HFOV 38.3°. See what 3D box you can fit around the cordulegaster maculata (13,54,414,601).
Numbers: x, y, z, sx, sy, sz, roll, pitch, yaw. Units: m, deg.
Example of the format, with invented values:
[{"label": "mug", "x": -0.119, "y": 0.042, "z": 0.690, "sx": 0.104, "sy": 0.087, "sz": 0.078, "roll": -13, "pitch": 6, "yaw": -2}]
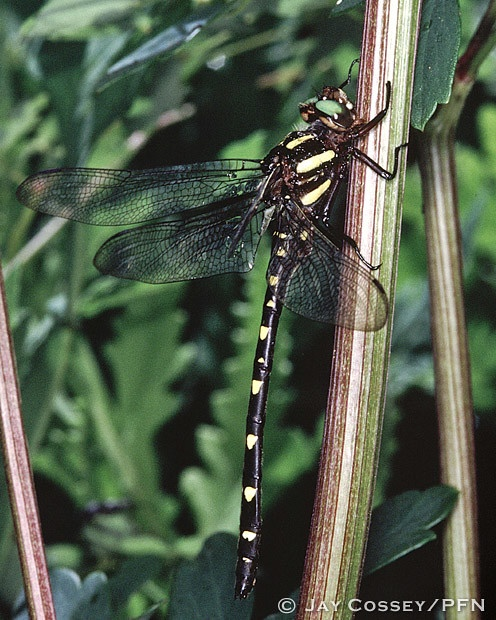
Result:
[{"label": "cordulegaster maculata", "x": -0.002, "y": 0.030, "z": 0.678, "sx": 0.199, "sy": 0.426, "sz": 0.385, "roll": 4, "pitch": 15, "yaw": -44}]
